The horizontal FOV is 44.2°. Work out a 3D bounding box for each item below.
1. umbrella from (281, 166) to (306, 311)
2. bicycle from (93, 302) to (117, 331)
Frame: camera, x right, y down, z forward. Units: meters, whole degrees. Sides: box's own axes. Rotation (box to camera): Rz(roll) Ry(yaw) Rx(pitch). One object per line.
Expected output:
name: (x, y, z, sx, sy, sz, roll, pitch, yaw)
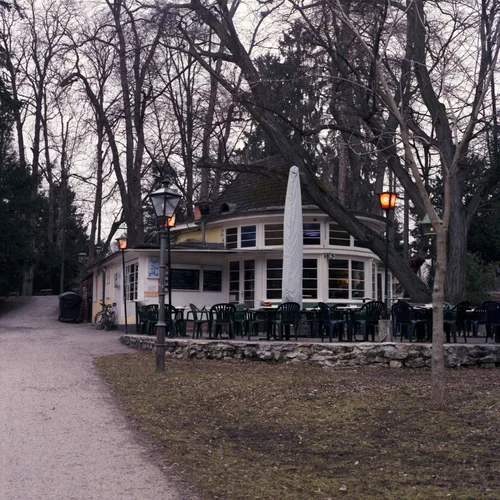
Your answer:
umbrella: (1.054, -0.421, 15.137, 0.469, 3.516, 0.961, 0, -6, 4)
bicycle: (-6.036, 2.804, 26.085, 0.740, 1.015, 1.526, 8, -11, -37)
